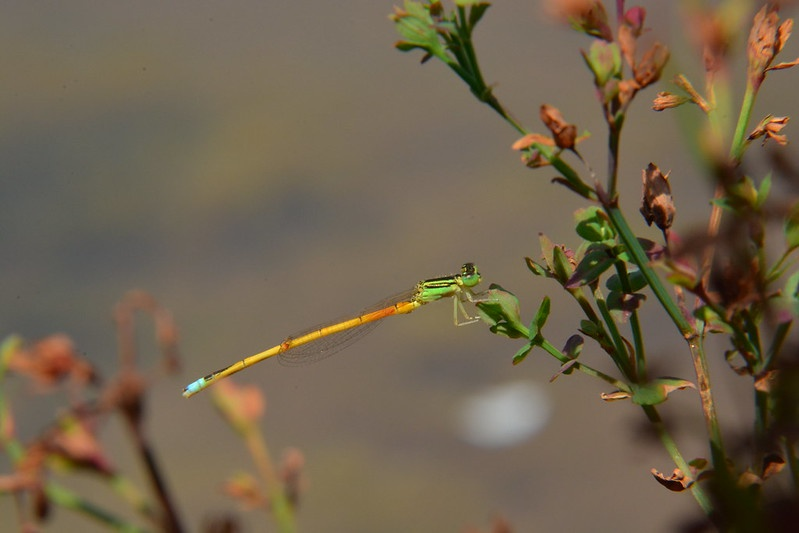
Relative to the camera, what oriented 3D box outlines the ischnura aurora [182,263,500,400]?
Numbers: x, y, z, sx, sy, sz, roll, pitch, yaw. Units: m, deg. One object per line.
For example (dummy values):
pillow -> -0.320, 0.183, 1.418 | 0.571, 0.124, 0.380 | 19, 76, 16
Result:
ischnura aurora -> -0.046, 0.128, 1.738 | 0.403, 0.089, 0.086 | -24, -79, 13
